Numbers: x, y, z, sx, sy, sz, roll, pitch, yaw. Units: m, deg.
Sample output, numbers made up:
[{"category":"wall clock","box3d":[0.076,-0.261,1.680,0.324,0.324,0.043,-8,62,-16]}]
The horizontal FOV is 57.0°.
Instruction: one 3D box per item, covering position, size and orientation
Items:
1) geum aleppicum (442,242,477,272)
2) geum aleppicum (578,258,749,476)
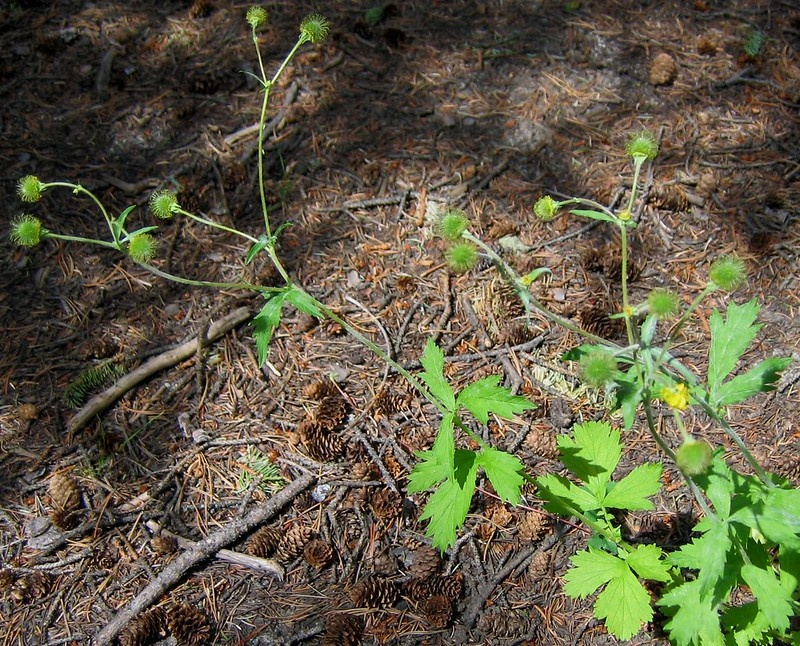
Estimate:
[{"category":"geum aleppicum","box3d":[0.356,-0.373,4.360,0.167,0.261,0.176,-3,44,-2]},{"category":"geum aleppicum","box3d":[1.629,0.334,4.501,0.735,0.765,0.839,-30,61,-12]}]
